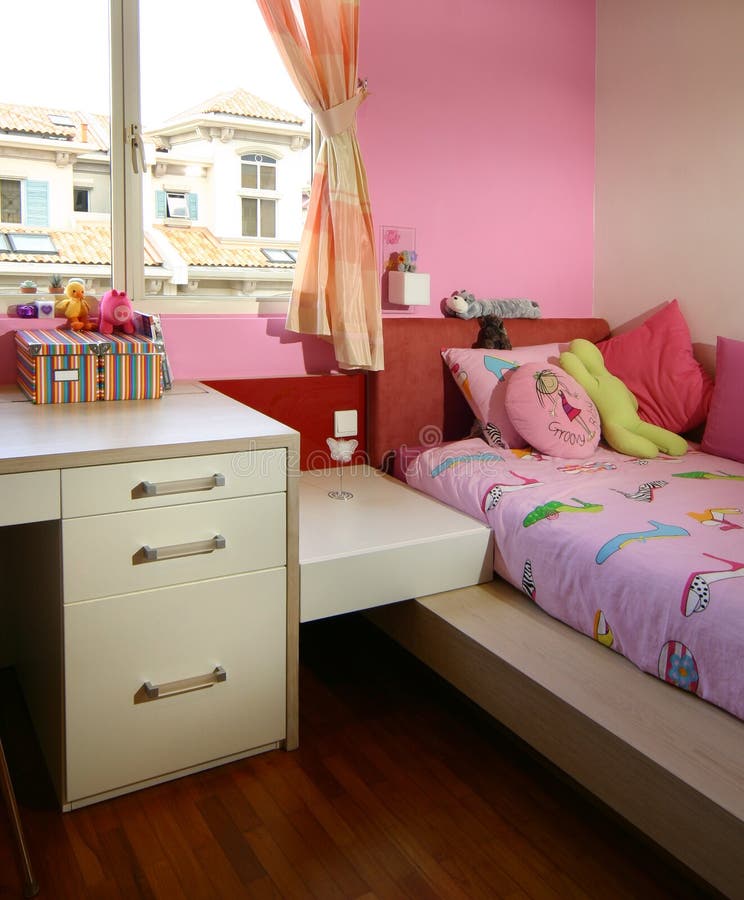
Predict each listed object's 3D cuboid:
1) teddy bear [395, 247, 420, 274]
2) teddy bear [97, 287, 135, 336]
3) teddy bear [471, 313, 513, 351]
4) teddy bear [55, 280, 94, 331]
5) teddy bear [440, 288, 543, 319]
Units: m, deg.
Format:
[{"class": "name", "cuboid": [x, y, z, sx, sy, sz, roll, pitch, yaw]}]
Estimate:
[{"class": "teddy bear", "cuboid": [0.122, -0.663, 2.414, 0.087, 0.105, 0.085, 0, 1, -18]}, {"class": "teddy bear", "cuboid": [-0.694, -0.371, 1.881, 0.089, 0.143, 0.137, 0, 8, -25]}, {"class": "teddy bear", "cuboid": [0.435, -0.439, 2.540, 0.106, 0.162, 0.160, -2, 19, 5]}, {"class": "teddy bear", "cuboid": [-0.821, -0.394, 1.896, 0.056, 0.144, 0.144, 6, 7, 20]}, {"class": "teddy bear", "cuboid": [0.461, -0.537, 2.668, 0.433, 0.131, 0.133, -1, 2, -27]}]
